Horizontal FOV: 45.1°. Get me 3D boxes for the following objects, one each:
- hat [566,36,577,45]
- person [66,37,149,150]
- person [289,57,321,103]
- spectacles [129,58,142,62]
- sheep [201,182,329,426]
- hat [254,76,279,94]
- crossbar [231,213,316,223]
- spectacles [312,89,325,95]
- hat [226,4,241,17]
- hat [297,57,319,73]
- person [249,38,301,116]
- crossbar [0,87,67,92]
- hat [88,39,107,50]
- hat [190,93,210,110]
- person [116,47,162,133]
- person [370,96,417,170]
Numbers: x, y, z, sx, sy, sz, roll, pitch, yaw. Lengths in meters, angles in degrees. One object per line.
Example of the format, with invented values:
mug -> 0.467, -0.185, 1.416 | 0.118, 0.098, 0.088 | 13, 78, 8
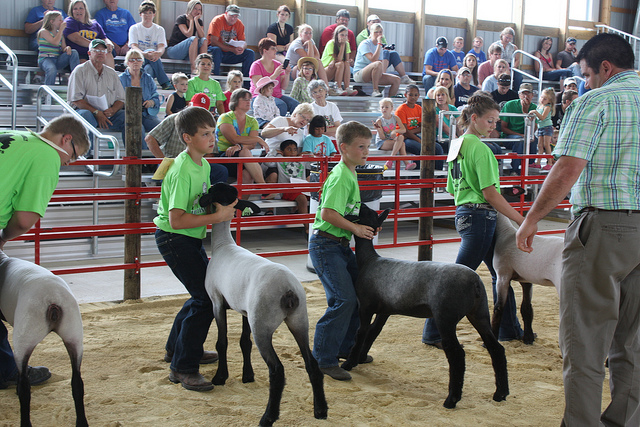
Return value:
hat -> 7.060, -4.858, 21.683 | 0.236, 0.215, 0.572 | 4, 6, 14
person -> -3.548, -1.925, 12.303 | 0.880, 1.674, 0.463 | 0, 5, -20
person -> -0.301, -2.565, 14.765 | 0.498, 0.894, 1.178 | 2, 6, -2
spectacles -> -3.025, -2.530, 12.697 | 0.189, 0.076, 0.064 | 1, 5, -14
sheep -> -0.565, 1.068, 7.600 | 1.344, 1.884, 0.572 | 7, 7, 40
hat -> -0.977, -2.259, 13.717 | 0.371, 0.144, 0.354 | -34, -8, 14
crossbar -> -0.631, 0.070, 10.472 | 1.103, 0.168, 0.374 | 2, 6, -13
spectacles -> -0.038, -2.137, 13.537 | 0.180, 0.092, 0.036 | 4, 6, 15
hat -> -1.819, -4.310, 16.112 | 0.247, 0.220, 0.395 | 3, 22, -27
hat -> -0.225, -2.922, 14.940 | 0.399, 0.295, 0.819 | 2, 6, -3
person -> -0.889, -2.376, 14.771 | 0.798, 1.989, 0.952 | -7, 14, -33
crossbar -> -4.843, -2.107, 13.130 | 1.134, 0.045, 0.304 | 4, 6, 11
hat -> -3.549, -2.716, 12.383 | 0.241, 0.166, 0.349 | 1, 6, -18
hat -> -2.001, -1.895, 12.863 | 0.292, 0.263, 0.566 | 3, 6, 2
person -> -2.941, -2.012, 12.670 | 0.808, 1.323, 1.011 | 0, 13, 4
person -> 1.277, -1.455, 14.189 | 0.701, 1.347, 0.891 | -7, 10, -24
